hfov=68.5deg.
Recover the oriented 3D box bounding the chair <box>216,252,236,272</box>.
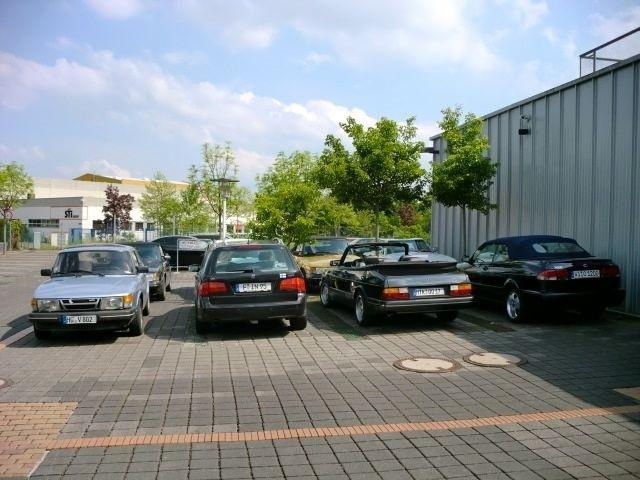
[{"bbox_3d":[-1.791,0.435,9.017,0.387,0.357,0.280,-1,2,-12],"label":"chair"}]

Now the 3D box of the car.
[{"bbox_3d":[-1.350,0.991,9.886,8.767,1.876,2.231,-1,2,-7],"label":"car"}]

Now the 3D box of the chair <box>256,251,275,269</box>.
[{"bbox_3d":[-1.027,0.395,9.226,0.237,0.359,0.107,-7,-10,-16],"label":"chair"}]
